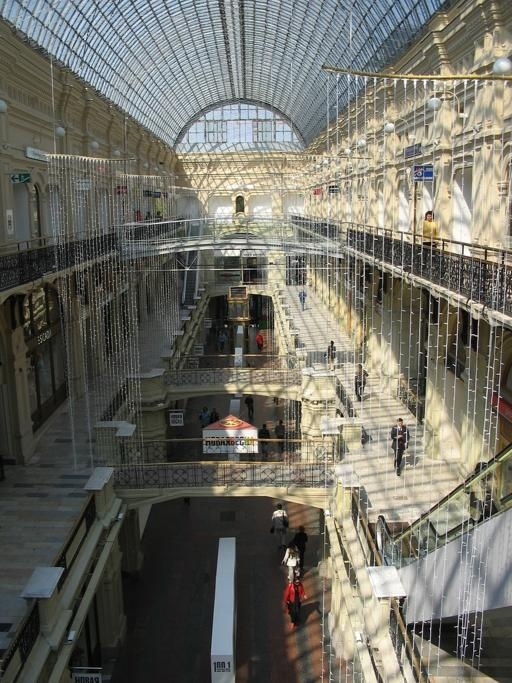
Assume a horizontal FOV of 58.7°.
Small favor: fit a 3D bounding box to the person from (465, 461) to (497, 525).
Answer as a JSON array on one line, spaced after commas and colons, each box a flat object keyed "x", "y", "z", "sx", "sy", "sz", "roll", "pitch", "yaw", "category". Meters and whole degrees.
[{"x": 2.102, "y": 1.381, "z": 4.160, "sx": 0.259, "sy": 0.314, "sz": 0.830, "roll": 2, "pitch": -58, "yaw": 31, "category": "person"}]
